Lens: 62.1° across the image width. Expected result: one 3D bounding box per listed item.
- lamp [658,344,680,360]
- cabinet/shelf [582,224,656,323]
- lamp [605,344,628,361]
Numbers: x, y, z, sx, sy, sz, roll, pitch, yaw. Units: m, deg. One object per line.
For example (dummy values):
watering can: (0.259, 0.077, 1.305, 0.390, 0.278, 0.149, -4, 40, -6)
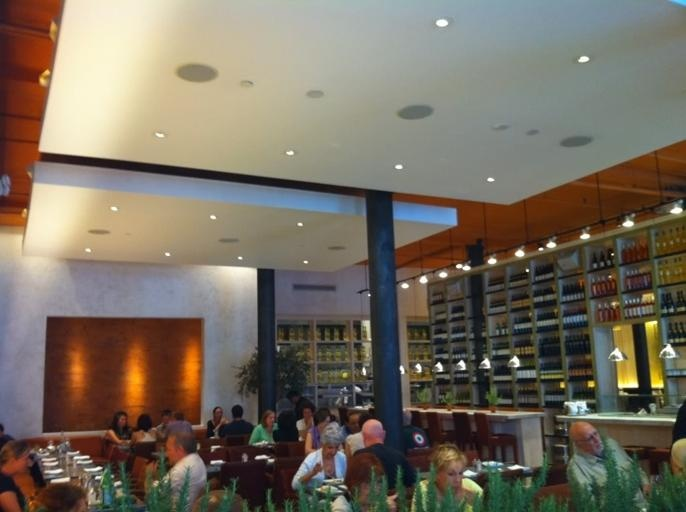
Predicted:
lamp: (4.555, 1.330, 7.913, 0.290, 0.251, 0.323, 0, -10, 3)
cabinet/shelf: (4.558, 0.310, 9.338, 0.498, 1.739, 1.502, 1, -7, -26)
lamp: (4.464, 1.587, 9.321, 0.383, 0.295, 0.392, 1, -10, -2)
